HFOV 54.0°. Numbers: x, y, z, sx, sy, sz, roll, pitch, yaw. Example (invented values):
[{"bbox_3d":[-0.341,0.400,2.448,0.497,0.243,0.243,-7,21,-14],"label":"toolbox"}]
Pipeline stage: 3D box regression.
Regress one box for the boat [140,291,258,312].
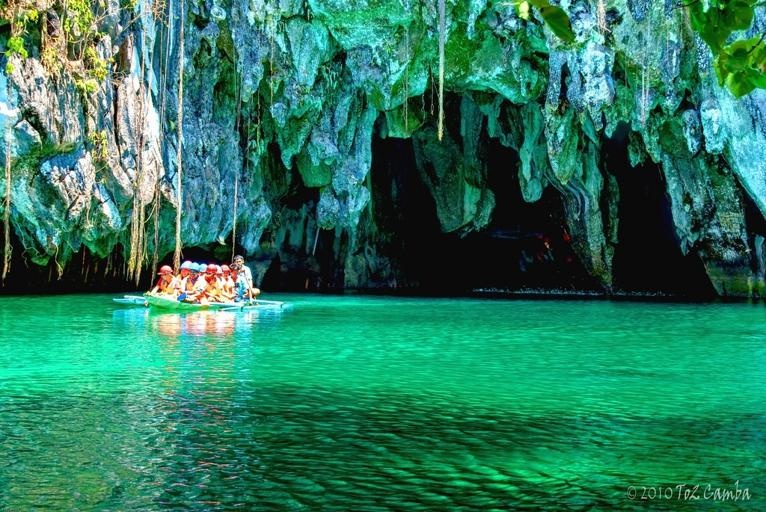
[{"bbox_3d":[-4.576,1.210,18.142,2.288,0.430,0.665,0,2,-21],"label":"boat"}]
